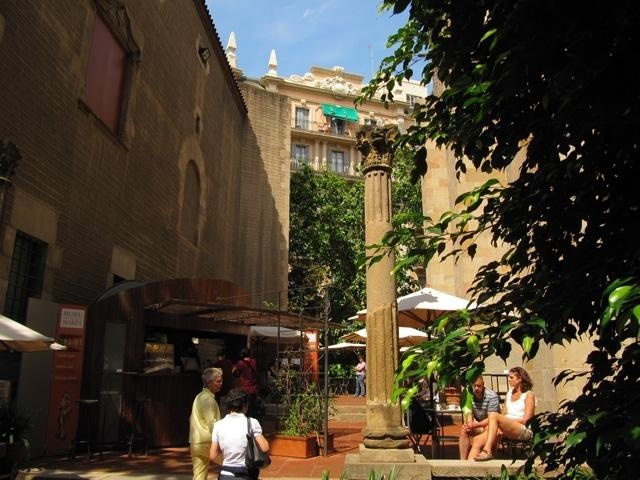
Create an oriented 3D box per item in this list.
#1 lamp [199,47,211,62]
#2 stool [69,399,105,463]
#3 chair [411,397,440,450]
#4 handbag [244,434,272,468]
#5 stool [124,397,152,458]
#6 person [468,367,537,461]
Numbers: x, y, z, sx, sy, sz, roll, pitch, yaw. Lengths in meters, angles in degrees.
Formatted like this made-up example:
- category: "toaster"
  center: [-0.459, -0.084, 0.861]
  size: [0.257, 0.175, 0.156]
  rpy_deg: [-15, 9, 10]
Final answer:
- category: "lamp"
  center: [-5.007, -8.058, 24.604]
  size: [0.146, 0.586, 0.634]
  rpy_deg: [14, 27, 18]
- category: "stool"
  center: [-4.523, 3.754, 10.994]
  size: [0.788, 1.106, 0.824]
  rpy_deg: [10, -31, -25]
- category: "chair"
  center: [1.617, 2.973, 9.101]
  size: [0.444, 0.778, 0.469]
  rpy_deg: [4, -3, 2]
- category: "handbag"
  center: [-0.620, 2.091, 5.592]
  size: [0.222, 0.338, 0.205]
  rpy_deg: [-6, -13, -4]
- category: "stool"
  center: [-3.666, 3.786, 11.518]
  size: [0.468, 1.100, 1.090]
  rpy_deg: [-2, -14, -19]
- category: "person"
  center: [2.488, 2.396, 7.894]
  size: [1.002, 1.110, 0.735]
  rpy_deg: [-3, -14, -17]
